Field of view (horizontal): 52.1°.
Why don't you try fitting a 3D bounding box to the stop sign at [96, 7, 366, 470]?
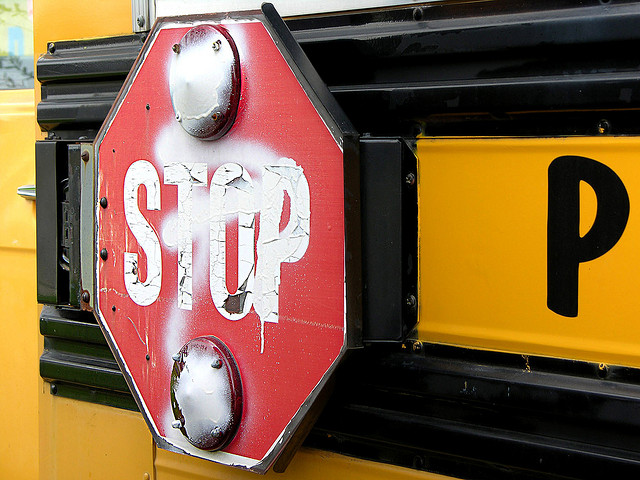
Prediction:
[{"bbox_3d":[-0.235,0.005,1.546,0.705,1.051,0.143,2,3,26],"label":"stop sign"}]
